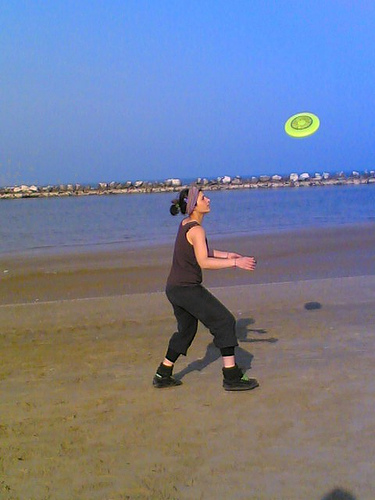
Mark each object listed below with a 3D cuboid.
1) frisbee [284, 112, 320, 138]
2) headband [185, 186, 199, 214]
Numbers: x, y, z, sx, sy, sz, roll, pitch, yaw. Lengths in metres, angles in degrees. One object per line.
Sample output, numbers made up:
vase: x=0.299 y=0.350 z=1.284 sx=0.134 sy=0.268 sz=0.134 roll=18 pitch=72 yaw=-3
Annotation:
frisbee: x=1.217 y=-1.328 z=5.701 sx=0.332 sy=0.249 sz=0.372 roll=-1 pitch=9 yaw=9
headband: x=0.032 y=-0.413 z=4.347 sx=0.064 sy=0.164 sz=0.134 roll=10 pitch=-3 yaw=-15
